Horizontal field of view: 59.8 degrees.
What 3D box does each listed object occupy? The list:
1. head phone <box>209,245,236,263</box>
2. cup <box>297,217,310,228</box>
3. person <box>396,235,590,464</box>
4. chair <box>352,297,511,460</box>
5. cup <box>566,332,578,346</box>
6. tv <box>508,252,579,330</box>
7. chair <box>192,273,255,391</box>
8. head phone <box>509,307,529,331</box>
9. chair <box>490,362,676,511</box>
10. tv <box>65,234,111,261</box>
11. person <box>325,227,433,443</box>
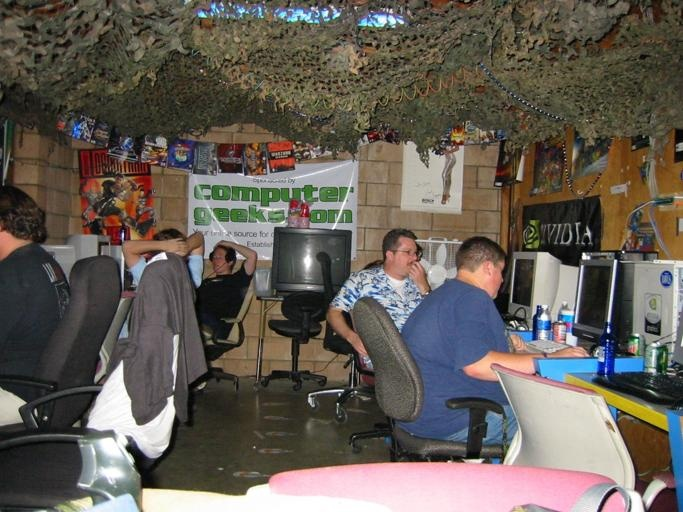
[{"bbox_3d":[-1.277,0.004,6.434,0.170,0.223,0.126,5,-6,9],"label":"head phone"},{"bbox_3d":[-0.440,-0.373,6.662,0.125,0.125,0.135,-7,26,4],"label":"cup"},{"bbox_3d":[0.843,0.465,3.376,0.906,1.093,0.954,-1,-6,33],"label":"person"},{"bbox_3d":[0.385,0.686,3.425,0.883,0.952,0.856,1,-2,-15],"label":"chair"},{"bbox_3d":[1.564,0.570,4.038,0.053,0.055,0.098,-4,-5,14],"label":"cup"},{"bbox_3d":[1.595,0.286,4.712,0.349,0.634,0.637,6,1,-1],"label":"tv"},{"bbox_3d":[-1.173,0.835,5.992,0.506,1.084,0.962,1,3,-9],"label":"chair"},{"bbox_3d":[1.373,0.485,4.604,0.072,0.186,0.111,-13,11,15],"label":"head phone"},{"bbox_3d":[1.010,0.690,2.666,0.528,0.674,0.523,-3,5,-30],"label":"chair"},{"bbox_3d":[-2.118,-0.067,4.942,0.164,0.215,0.240,-2,1,12],"label":"tv"},{"bbox_3d":[0.337,0.628,4.346,0.902,1.640,0.717,5,-12,-14],"label":"person"}]
